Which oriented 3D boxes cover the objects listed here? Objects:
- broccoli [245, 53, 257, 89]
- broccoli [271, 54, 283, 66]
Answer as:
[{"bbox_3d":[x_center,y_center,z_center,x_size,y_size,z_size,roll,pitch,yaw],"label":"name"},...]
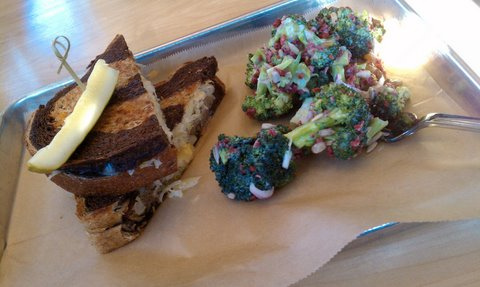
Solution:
[{"bbox_3d":[0.061,-0.440,2.443,0.067,0.172,0.132,15,3,10],"label":"broccoli"},{"bbox_3d":[0.207,-0.477,2.316,0.064,0.061,0.021,42,35,19],"label":"broccoli"}]
